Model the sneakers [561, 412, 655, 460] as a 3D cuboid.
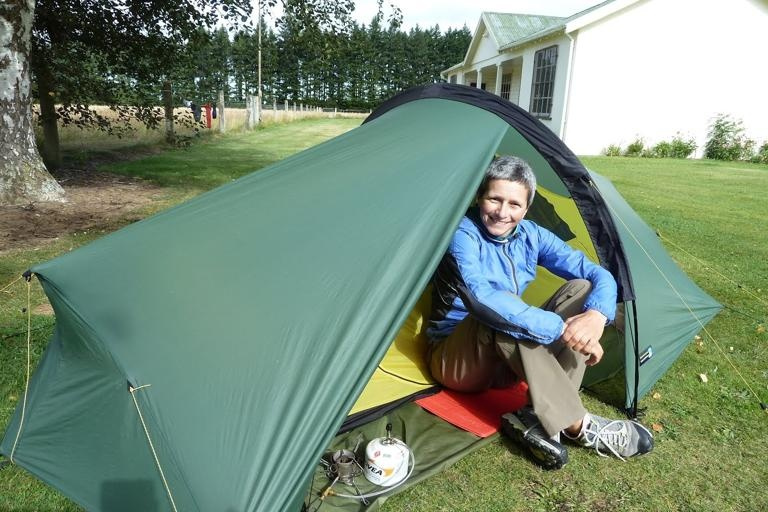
[{"bbox_3d":[1.544,1.221,3.642,0.523,0.299,0.251,10,-4,22],"label":"sneakers"}]
